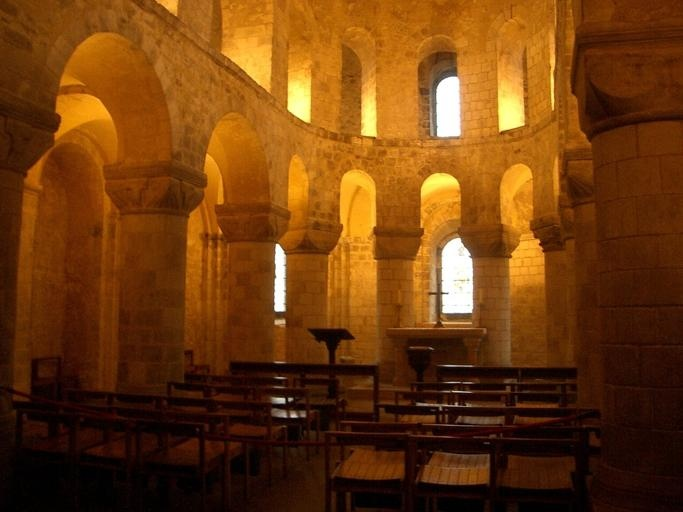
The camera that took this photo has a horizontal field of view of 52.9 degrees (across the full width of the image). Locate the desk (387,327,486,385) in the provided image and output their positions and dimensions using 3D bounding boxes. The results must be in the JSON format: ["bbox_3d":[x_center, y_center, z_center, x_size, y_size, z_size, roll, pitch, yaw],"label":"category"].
[{"bbox_3d":[2.256,2.400,16.099,2.113,1.339,1.120,-1,-8,11],"label":"desk"}]
